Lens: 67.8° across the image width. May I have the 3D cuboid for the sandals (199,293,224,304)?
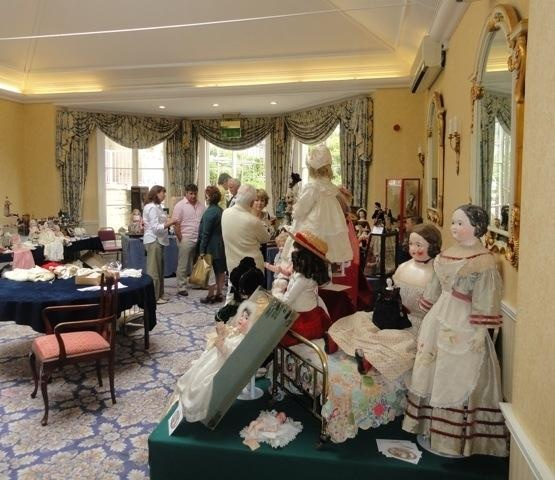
[{"bbox_3d":[-0.992,0.903,6.270,0.246,0.119,0.151,1,1,11],"label":"sandals"}]

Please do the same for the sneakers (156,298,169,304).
[{"bbox_3d":[-1.731,0.928,6.243,0.164,0.075,0.060,-8,2,33],"label":"sneakers"}]

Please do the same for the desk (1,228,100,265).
[{"bbox_3d":[-3.522,0.211,6.620,0.421,0.418,2.284,1,7,4],"label":"desk"}]

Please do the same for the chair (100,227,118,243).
[{"bbox_3d":[-3.650,-0.089,8.897,0.258,0.529,0.309,-1,1,-25],"label":"chair"}]

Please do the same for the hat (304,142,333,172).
[{"bbox_3d":[0.366,-0.727,3.564,0.155,0.227,0.228,1,9,3],"label":"hat"}]

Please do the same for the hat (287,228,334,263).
[{"bbox_3d":[0.238,0.008,2.702,0.364,0.111,0.320,39,9,20],"label":"hat"}]

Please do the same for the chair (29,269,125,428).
[{"bbox_3d":[-1.674,0.802,3.387,0.598,1.144,0.583,1,4,-38],"label":"chair"}]
